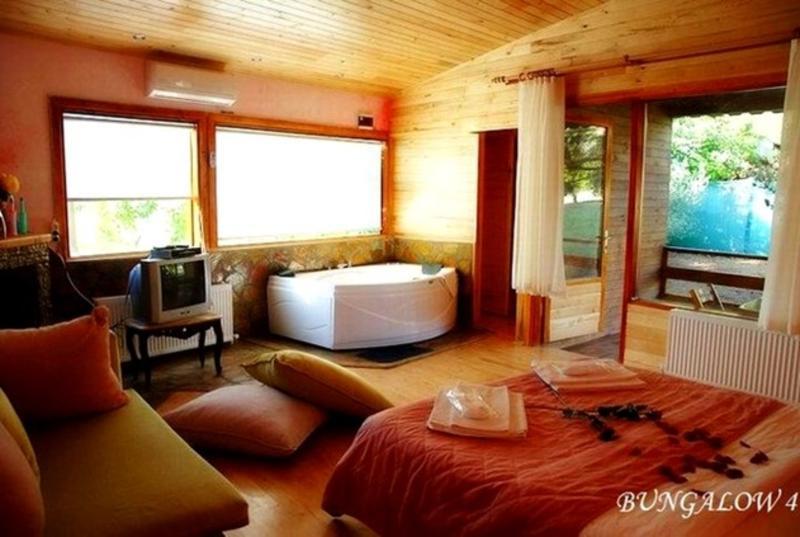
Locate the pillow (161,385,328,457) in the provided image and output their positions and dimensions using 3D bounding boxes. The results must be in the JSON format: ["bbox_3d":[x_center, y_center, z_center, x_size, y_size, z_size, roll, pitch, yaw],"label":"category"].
[{"bbox_3d":[-1.068,1.050,3.655,0.661,0.174,0.657,5,2,19],"label":"pillow"}]

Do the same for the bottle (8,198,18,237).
[{"bbox_3d":[-3.251,-0.420,4.359,0.070,0.285,0.329,-10,18,-35],"label":"bottle"}]

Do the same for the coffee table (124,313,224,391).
[{"bbox_3d":[-2.105,0.774,5.017,0.773,0.475,0.485,-4,-6,-26],"label":"coffee table"}]

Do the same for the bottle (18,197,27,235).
[{"bbox_3d":[-3.338,-0.453,4.600,0.081,0.300,0.475,-9,17,-33],"label":"bottle"}]

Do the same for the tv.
[{"bbox_3d":[-2.301,0.164,5.063,0.589,0.549,0.742,4,8,17],"label":"tv"}]
